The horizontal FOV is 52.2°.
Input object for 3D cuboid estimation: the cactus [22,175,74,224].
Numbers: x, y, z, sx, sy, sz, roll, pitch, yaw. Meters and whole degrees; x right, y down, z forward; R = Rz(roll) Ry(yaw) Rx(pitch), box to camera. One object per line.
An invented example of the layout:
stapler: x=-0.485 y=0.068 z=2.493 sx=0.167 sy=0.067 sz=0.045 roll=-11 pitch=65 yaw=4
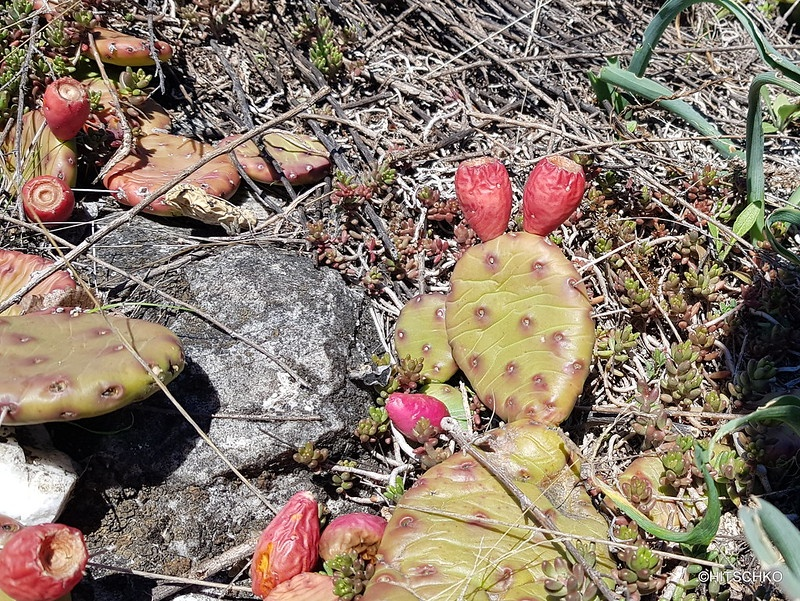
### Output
cactus: x=-1.187 y=-0.340 z=2.830 sx=0.174 sy=0.169 sz=0.187 roll=-13 pitch=95 yaw=-21

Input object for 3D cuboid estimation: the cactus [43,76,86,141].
cactus: x=-1.150 y=-0.650 z=2.818 sx=0.160 sy=0.223 sz=0.172 roll=-11 pitch=67 yaw=-33

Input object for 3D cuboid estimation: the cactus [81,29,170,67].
cactus: x=-1.024 y=-0.925 z=3.083 sx=0.252 sy=0.140 sz=0.095 roll=2 pitch=55 yaw=-22

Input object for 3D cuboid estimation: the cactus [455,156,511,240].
cactus: x=0.263 y=-0.328 z=2.634 sx=0.148 sy=0.093 sz=0.269 roll=-3 pitch=94 yaw=1

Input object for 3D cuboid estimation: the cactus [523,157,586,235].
cactus: x=0.461 y=-0.322 z=2.544 sx=0.160 sy=0.290 sz=0.107 roll=15 pitch=45 yaw=-12

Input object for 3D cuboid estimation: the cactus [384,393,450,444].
cactus: x=0.051 y=0.354 z=2.541 sx=0.176 sy=0.134 sz=0.110 roll=30 pitch=49 yaw=-13

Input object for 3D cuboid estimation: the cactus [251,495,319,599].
cactus: x=-0.317 y=0.681 z=2.333 sx=0.163 sy=0.108 sz=0.296 roll=21 pitch=67 yaw=-14

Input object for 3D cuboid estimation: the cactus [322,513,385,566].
cactus: x=-0.123 y=0.716 z=2.405 sx=0.135 sy=0.182 sz=0.109 roll=-26 pitch=88 yaw=8
